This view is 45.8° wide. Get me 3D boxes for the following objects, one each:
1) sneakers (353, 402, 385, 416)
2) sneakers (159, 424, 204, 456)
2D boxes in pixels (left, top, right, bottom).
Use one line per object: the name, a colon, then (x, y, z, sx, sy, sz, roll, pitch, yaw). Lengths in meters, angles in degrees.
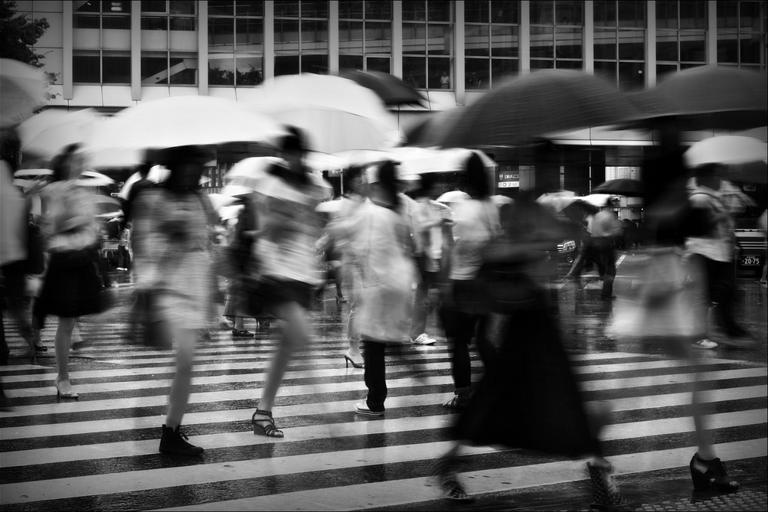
sneakers: (-0.159, 1.641, 9.769, 0.313, 0.109, 0.135, 4, 1, 22)
sneakers: (-1.852, 1.692, 8.329, 0.448, 0.258, 0.162, 1, -3, 18)
